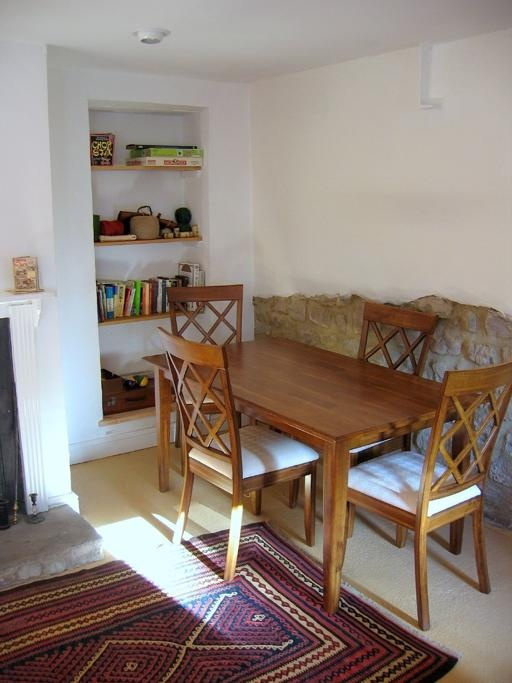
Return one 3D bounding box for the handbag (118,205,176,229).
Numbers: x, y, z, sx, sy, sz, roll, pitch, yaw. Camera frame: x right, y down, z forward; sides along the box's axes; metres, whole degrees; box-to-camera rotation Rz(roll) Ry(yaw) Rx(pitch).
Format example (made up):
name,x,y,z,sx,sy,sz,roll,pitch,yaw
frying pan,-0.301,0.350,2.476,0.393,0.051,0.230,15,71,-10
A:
name,x,y,z,sx,sy,sz,roll,pitch,yaw
handbag,-0.754,-0.858,3.733,0.306,0.127,0.181,-2,14,-17
